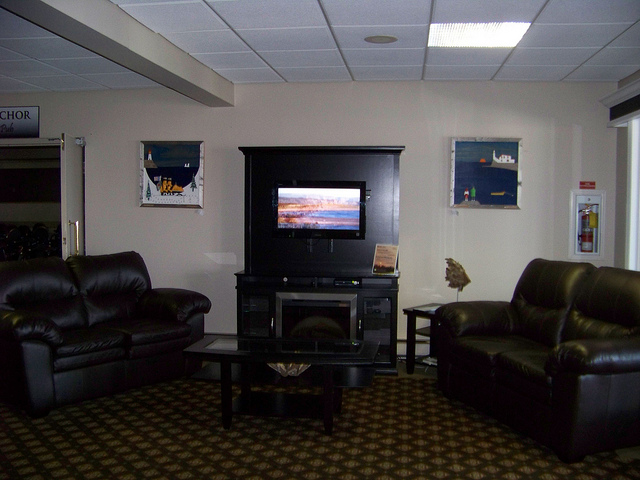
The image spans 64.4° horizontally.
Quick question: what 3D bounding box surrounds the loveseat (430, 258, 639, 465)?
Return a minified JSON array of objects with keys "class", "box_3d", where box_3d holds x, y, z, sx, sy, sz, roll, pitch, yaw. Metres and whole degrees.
[{"class":"loveseat","box_3d":[1.942,1.027,4.559,1.283,1.642,2.313,3,-2,-17]}]
